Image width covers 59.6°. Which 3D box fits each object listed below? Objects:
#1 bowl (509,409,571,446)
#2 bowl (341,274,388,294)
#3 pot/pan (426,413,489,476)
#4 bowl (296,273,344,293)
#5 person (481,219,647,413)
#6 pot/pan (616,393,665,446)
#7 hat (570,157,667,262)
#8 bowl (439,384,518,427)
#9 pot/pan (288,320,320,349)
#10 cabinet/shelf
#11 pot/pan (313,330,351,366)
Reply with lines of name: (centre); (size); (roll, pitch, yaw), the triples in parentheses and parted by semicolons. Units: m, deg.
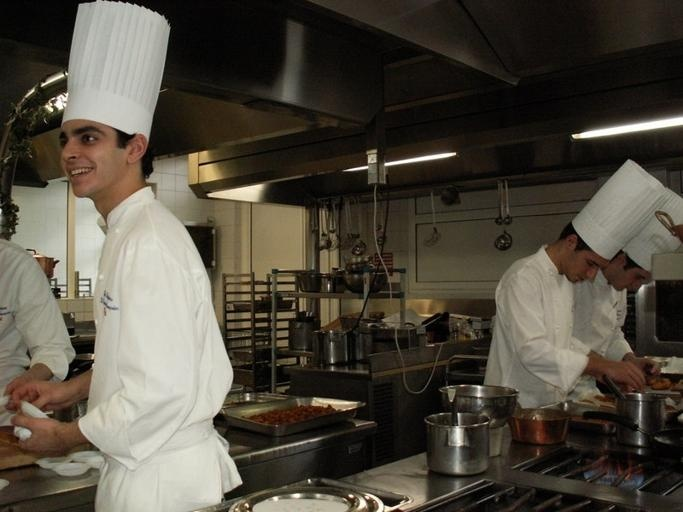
bowl: (0.729, 0.622, 2.170); (0.149, 0.054, 0.146); (2, -7, 0)
bowl: (0.202, 0.190, 4.100); (0.270, 0.153, 0.520); (0, -1, -12)
pot/pan: (0.375, 0.597, 1.922); (0.202, 0.165, 0.201); (0, -1, 13)
bowl: (-0.165, 0.201, 4.699); (0.372, 0.167, 0.238); (0, -1, 2)
person: (1.067, 0.298, 3.163); (0.825, 1.142, 0.747); (1, 3, 18)
pot/pan: (1.133, 0.602, 2.236); (0.182, 0.179, 0.182); (0, -5, -1)
hat: (1.325, -0.215, 2.836); (0.425, 0.465, 0.188); (0, -1, 15)
bowl: (0.515, 0.534, 2.097); (0.221, 0.094, 0.215); (-2, -13, 0)
pot/pan: (-0.299, 0.617, 4.792); (0.232, 0.239, 0.237); (0, -3, 23)
cabinet/shelf: (-0.750, 0.791, 6.044); (0.603, 1.048, 0.622); (21, -4, 17)
pot/pan: (-0.076, 0.618, 4.043); (0.274, 0.224, 0.171); (0, -1, 10)
